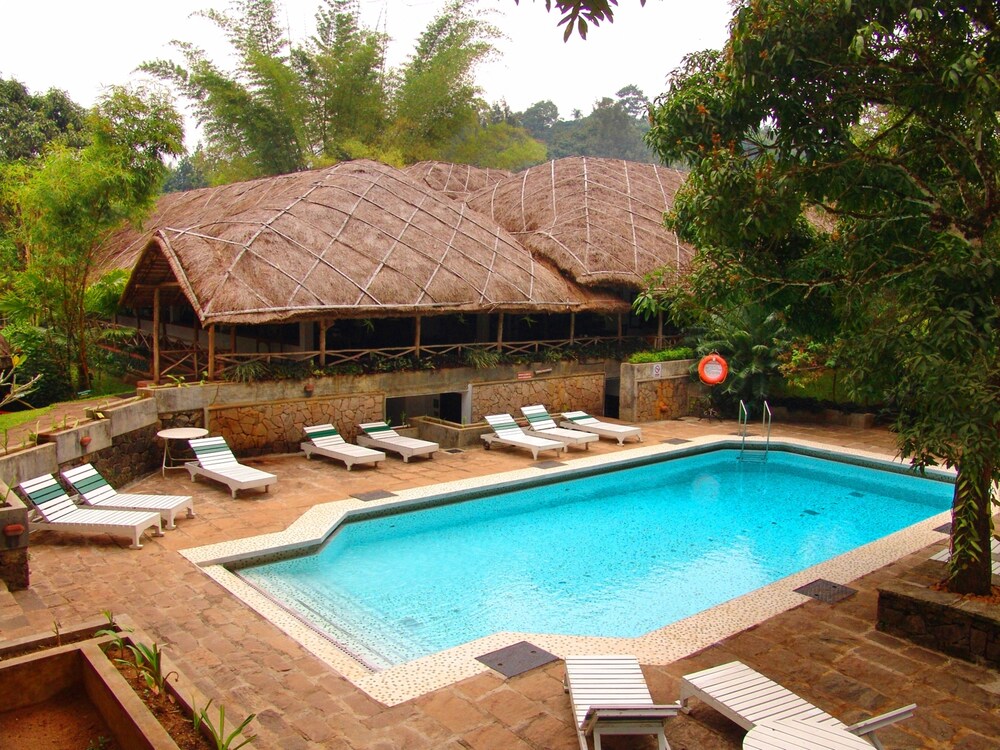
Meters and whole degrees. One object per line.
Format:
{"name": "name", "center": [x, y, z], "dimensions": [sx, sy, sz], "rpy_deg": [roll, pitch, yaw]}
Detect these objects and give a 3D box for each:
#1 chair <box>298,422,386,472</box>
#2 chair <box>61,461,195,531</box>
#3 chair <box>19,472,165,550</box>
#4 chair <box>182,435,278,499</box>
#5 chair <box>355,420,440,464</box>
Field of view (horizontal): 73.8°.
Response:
{"name": "chair", "center": [-3.922, 1.773, 16.438], "dimensions": [2.444, 0.752, 0.955], "rpy_deg": [13, 17, 43]}
{"name": "chair", "center": [-6.764, 2.252, 12.025], "dimensions": [2.343, 0.812, 1.071], "rpy_deg": [3, 11, 14]}
{"name": "chair", "center": [-6.987, 2.334, 11.207], "dimensions": [2.449, 0.845, 1.039], "rpy_deg": [5, 12, 14]}
{"name": "chair", "center": [-5.770, 1.987, 14.133], "dimensions": [2.465, 0.799, 1.032], "rpy_deg": [15, 19, 40]}
{"name": "chair", "center": [-2.669, 1.704, 17.296], "dimensions": [0.929, 0.719, 2.333], "rpy_deg": [-9, 14, -44]}
